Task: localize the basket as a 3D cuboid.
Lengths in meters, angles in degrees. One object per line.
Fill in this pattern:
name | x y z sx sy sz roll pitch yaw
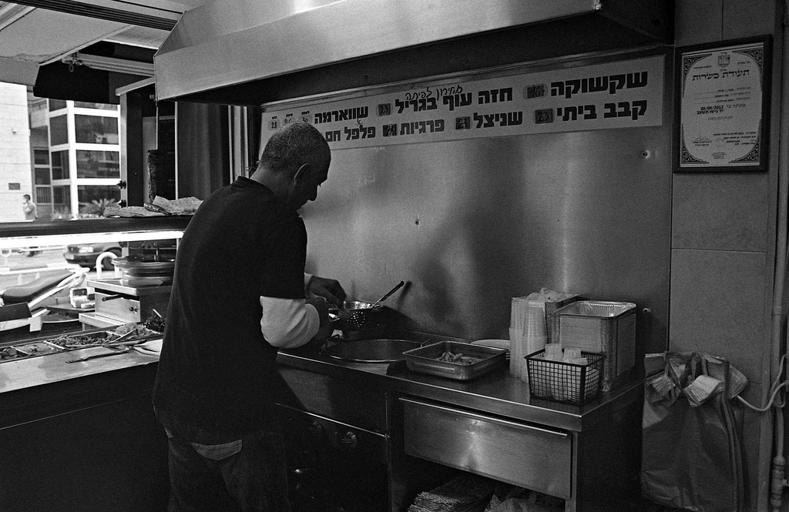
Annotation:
basket | 0.732 0.571 2.587 0.271 0.180 0.359 0 -8 21
